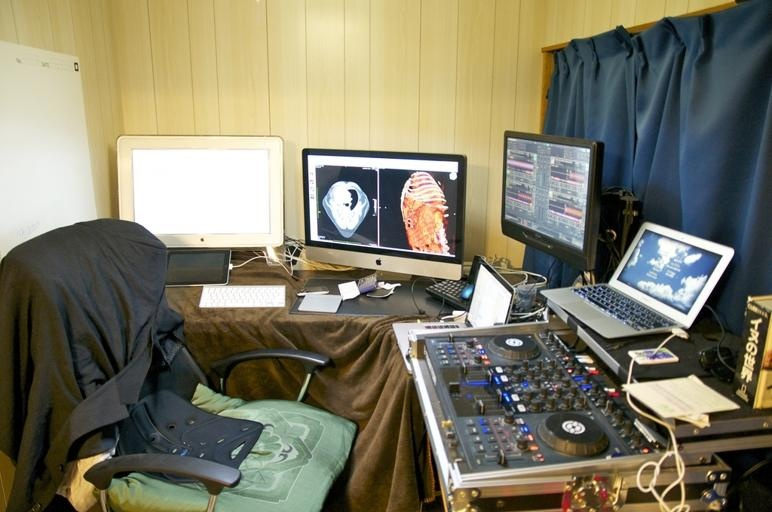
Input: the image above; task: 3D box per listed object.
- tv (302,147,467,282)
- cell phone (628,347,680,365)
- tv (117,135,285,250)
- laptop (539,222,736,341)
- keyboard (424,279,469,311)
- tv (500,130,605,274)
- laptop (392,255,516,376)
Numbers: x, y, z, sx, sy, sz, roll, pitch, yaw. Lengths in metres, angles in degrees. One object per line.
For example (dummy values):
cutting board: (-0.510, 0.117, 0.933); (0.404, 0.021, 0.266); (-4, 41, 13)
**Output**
tv: (-0.013, -0.216, 2.875); (0.859, 0.631, 0.215); (5, 15, 20)
cell phone: (0.869, 0.323, 1.891); (0.099, 0.014, 0.072); (-3, 21, -1)
tv: (-0.957, -0.341, 2.931); (0.612, 0.446, 0.056); (0, 13, -6)
laptop: (0.903, 0.114, 2.101); (0.464, 0.289, 0.463); (-7, 26, -19)
keyboard: (0.295, 0.179, 2.715); (0.126, 0.035, 0.180); (22, 26, 12)
tv: (0.683, -0.258, 2.489); (0.105, 0.514, 0.599); (-10, 19, -22)
laptop: (0.307, 0.197, 2.452); (0.307, 0.216, 0.365); (-15, -14, 37)
